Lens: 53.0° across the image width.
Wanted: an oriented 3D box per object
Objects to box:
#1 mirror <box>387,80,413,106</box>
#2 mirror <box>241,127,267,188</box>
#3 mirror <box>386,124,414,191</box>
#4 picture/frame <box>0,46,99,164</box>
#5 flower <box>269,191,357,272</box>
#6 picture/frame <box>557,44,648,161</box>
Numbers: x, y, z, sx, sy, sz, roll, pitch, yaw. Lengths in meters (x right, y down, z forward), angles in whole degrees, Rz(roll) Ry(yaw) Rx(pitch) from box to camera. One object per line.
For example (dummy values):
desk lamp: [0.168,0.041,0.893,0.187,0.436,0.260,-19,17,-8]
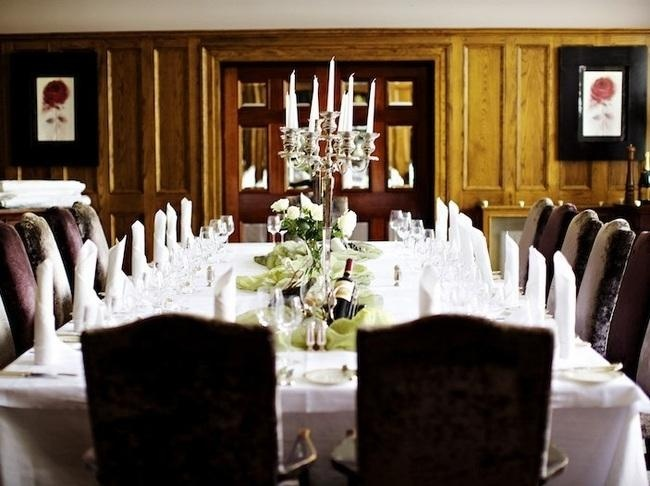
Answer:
mirror: [0.676,-1.334,5.835,0.228,0.217,0.033,1,9,5]
mirror: [-0.636,-0.768,5.917,0.240,0.557,0.052,1,9,6]
mirror: [0.690,-0.778,5.904,0.245,0.552,0.058,1,9,6]
picture/frame: [-2.358,-1.175,5.679,0.766,0.956,0.168,1,9,9]
flower: [-0.066,-0.082,3.349,0.399,0.478,0.409,7,-10,0]
picture/frame: [2.404,-1.255,5.595,0.839,1.367,0.103,0,2,0]
